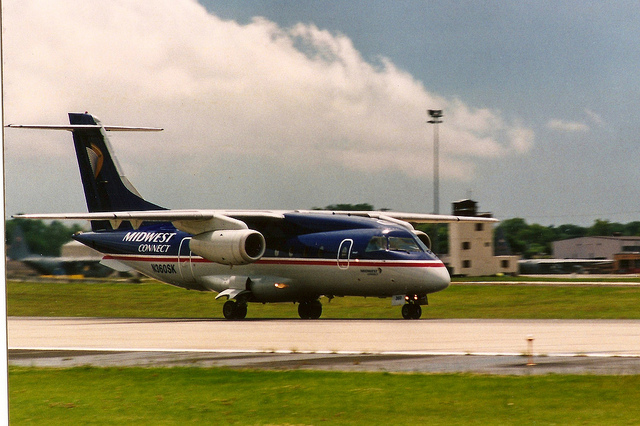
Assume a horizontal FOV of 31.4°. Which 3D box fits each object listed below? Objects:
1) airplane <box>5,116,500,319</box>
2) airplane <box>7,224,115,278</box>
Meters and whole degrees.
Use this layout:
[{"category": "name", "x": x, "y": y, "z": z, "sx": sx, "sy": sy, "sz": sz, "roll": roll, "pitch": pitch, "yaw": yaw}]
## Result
[{"category": "airplane", "x": -3.506, "y": 1.276, "z": 45.248, "sx": 13.724, "sy": 4.083, "sz": 13.092, "roll": 0, "pitch": 0, "yaw": 31}, {"category": "airplane", "x": -13.396, "y": 2.254, "z": 58.859, "sx": 4.634, "sy": 1.751, "sz": 5.034, "roll": 3, "pitch": 0, "yaw": 45}]
